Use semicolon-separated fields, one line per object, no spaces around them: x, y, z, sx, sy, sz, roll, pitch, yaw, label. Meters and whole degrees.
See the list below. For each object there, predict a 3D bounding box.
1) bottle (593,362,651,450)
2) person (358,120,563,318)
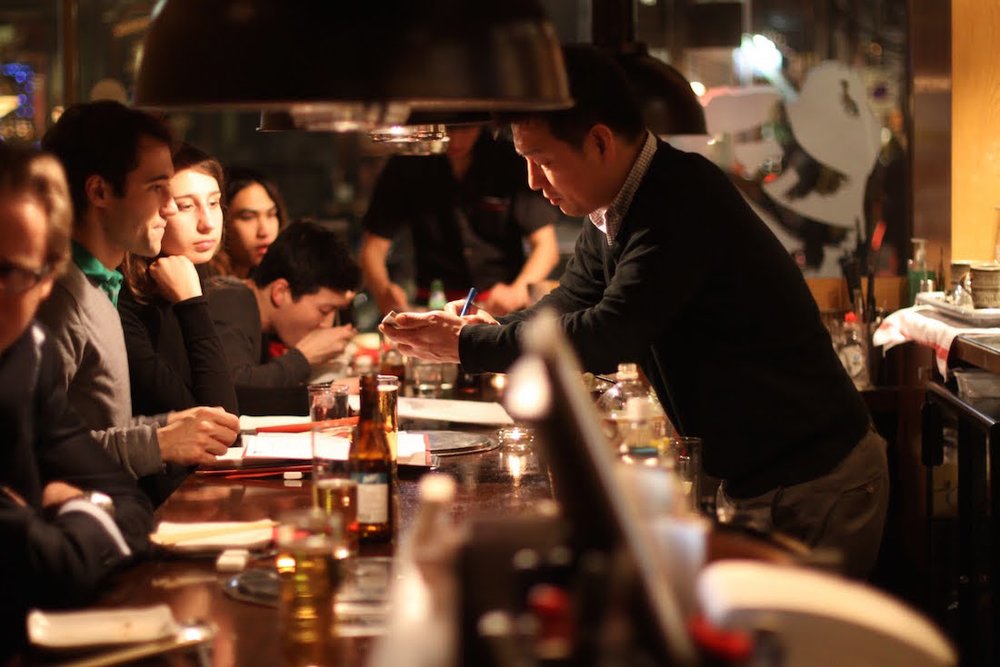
0.295;0.162;2.123;0.157;0.168;0.160;2;0;36;bottle
-0.228;-0.676;5.321;1.442;1.426;1.031;0;11;3;person
